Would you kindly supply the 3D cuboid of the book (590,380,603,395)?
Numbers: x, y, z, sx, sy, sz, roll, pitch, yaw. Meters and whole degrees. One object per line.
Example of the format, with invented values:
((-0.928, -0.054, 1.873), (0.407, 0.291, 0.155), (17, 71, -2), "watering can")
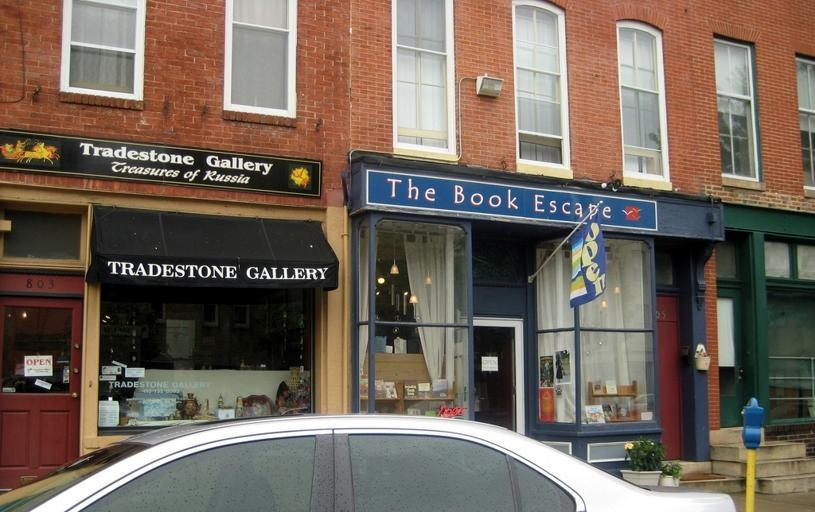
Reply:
((3.706, 2.609, 16.868), (0.267, 0.275, 0.069), (3, -10, -17), "book")

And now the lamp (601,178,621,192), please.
((4.001, -1.400, 17.038), (0.437, 0.250, 0.227), (-1, 3, -16), "lamp")

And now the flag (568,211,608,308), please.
((3.368, 0.008, 16.076), (0.700, 1.935, 0.197), (-7, -30, 16), "flag")

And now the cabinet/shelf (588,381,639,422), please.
((3.994, 2.904, 16.871), (0.729, 0.676, 0.274), (3, -12, -13), "cabinet/shelf")

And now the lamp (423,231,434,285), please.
((0.372, 0.080, 15.923), (0.261, 0.970, 0.114), (1, 6, -17), "lamp")

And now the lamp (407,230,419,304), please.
((0.086, 0.262, 15.796), (0.201, 1.286, 0.258), (-2, 8, -40), "lamp")

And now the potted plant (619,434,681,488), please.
((4.473, 3.994, 16.256), (0.730, 0.826, 0.874), (14, -15, -40), "potted plant")

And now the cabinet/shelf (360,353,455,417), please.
((-0.073, 2.326, 15.336), (1.098, 1.059, 0.327), (2, -7, -23), "cabinet/shelf")
